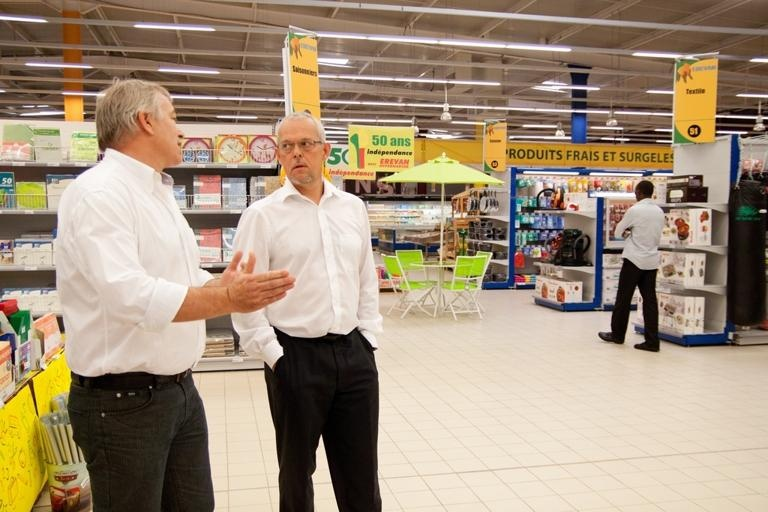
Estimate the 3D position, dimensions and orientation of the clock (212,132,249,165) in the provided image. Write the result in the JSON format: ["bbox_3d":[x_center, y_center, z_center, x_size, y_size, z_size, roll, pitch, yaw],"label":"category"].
[{"bbox_3d":[-1.813,-1.259,6.451,0.429,0.330,0.092,-2,1,-1],"label":"clock"}]

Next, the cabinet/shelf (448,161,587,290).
[{"bbox_3d":[3.124,-0.655,12.560,4.107,3.203,1.236,0,0,2],"label":"cabinet/shelf"}]

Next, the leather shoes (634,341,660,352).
[{"bbox_3d":[3.595,1.227,7.531,0.130,0.135,0.361,0,5,-26],"label":"leather shoes"}]

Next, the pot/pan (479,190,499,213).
[{"bbox_3d":[2.628,-1.371,13.572,0.388,0.571,0.105,-5,-20,14],"label":"pot/pan"}]

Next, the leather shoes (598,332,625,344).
[{"bbox_3d":[3.271,1.179,7.871,0.331,0.115,0.119,13,15,35],"label":"leather shoes"}]

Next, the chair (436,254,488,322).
[{"bbox_3d":[1.554,0.484,10.447,0.811,1.147,2.102,1,7,8],"label":"chair"}]

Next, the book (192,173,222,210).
[{"bbox_3d":[-2.093,-0.759,6.481,0.426,0.350,0.092,-4,-5,-9],"label":"book"}]

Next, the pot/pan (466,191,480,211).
[{"bbox_3d":[2.353,-1.432,14.309,0.183,0.433,0.344,-4,-4,2],"label":"pot/pan"}]

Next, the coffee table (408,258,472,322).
[{"bbox_3d":[1.011,0.712,10.902,1.166,1.066,1.173,5,-5,-44],"label":"coffee table"}]

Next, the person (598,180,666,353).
[{"bbox_3d":[3.495,0.109,7.624,0.786,2.324,0.682,1,8,10],"label":"person"}]

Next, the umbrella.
[{"bbox_3d":[0.977,-0.906,10.393,2.578,2.053,2.506,-3,5,-37],"label":"umbrella"}]

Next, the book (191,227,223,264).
[{"bbox_3d":[-1.780,-0.095,5.534,0.480,0.384,0.233,-2,-6,-7],"label":"book"}]
